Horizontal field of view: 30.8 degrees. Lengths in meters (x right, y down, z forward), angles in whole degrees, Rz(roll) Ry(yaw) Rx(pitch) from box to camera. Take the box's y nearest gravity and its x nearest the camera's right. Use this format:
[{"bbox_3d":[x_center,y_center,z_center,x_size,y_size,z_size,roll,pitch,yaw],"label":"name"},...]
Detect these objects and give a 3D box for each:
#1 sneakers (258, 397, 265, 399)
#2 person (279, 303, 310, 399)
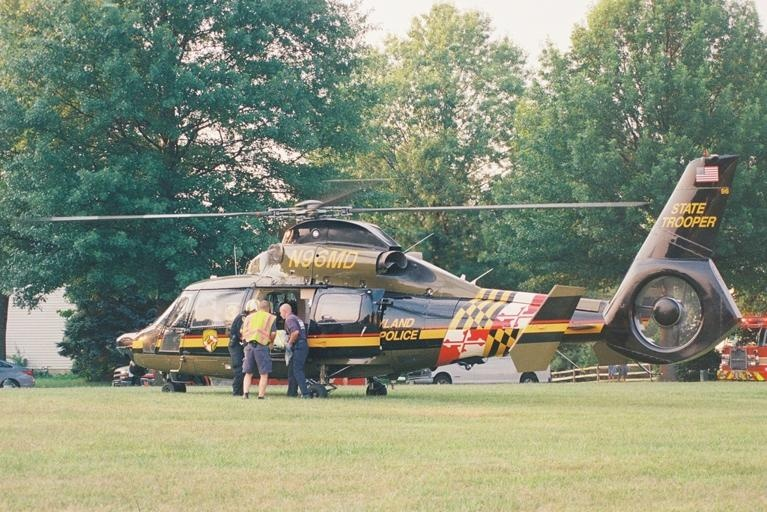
[{"bbox_3d":[-4.903,5.726,56.022,0.247,0.090,0.083,3,1,8],"label":"sneakers"},{"bbox_3d":[-3.586,3.820,56.786,1.181,3.804,1.231,2,-5,-4],"label":"person"}]
